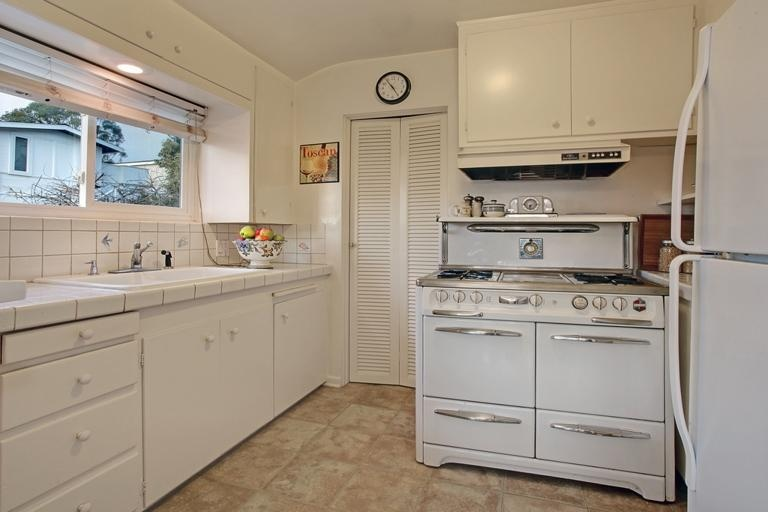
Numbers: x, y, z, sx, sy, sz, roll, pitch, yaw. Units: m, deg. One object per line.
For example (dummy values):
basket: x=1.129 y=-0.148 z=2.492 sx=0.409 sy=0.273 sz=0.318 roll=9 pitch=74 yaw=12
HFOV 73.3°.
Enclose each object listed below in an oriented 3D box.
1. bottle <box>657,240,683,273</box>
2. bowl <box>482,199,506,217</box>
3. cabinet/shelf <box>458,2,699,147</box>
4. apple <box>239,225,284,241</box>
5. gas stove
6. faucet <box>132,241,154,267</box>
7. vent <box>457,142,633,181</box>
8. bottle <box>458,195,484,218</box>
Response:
bottle: x=1.825 y=0.003 z=3.322 sx=0.142 sy=0.197 sz=0.125 roll=1 pitch=-1 yaw=2
bowl: x=0.753 y=-0.319 z=3.554 sx=0.140 sy=0.104 sz=0.140 roll=0 pitch=3 yaw=0
cabinet/shelf: x=1.259 y=-1.138 z=3.213 sx=1.252 sy=0.689 sz=0.398 roll=0 pitch=-1 yaw=19
apple: x=-0.861 y=-0.157 z=3.599 sx=0.260 sy=0.100 sz=0.199 roll=1 pitch=3 yaw=23
gas stove: x=0.879 y=0.235 z=3.062 sx=1.337 sy=0.231 sz=0.438 roll=1 pitch=2 yaw=13
faucet: x=-1.512 y=-0.013 z=3.257 sx=0.156 sy=0.158 sz=0.123 roll=-2 pitch=3 yaw=-42
vent: x=1.036 y=-0.621 z=3.465 sx=1.035 sy=0.199 sz=0.402 roll=1 pitch=2 yaw=15
bottle: x=0.595 y=-0.355 z=3.557 sx=0.189 sy=0.174 sz=0.119 roll=4 pitch=4 yaw=36
